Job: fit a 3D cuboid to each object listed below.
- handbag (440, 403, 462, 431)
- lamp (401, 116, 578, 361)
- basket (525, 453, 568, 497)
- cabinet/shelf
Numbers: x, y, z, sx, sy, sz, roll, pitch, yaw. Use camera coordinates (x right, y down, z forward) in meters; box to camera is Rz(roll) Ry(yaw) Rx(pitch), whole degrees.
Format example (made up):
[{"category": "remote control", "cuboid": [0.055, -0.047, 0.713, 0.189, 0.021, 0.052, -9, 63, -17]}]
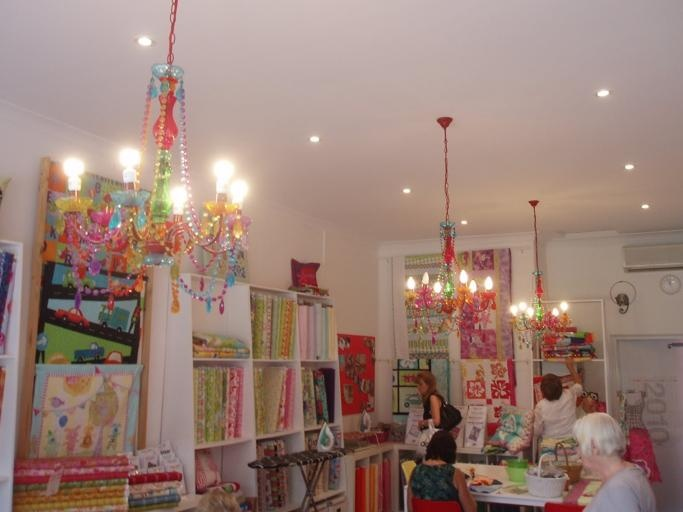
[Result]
[{"category": "handbag", "cuboid": [1.375, 2.054, 6.936, 0.316, 0.314, 0.161, 7, -13, -30]}, {"category": "lamp", "cuboid": [1.837, -0.135, 6.560, 2.124, 2.536, 0.829, 10, -15, -40]}, {"category": "basket", "cuboid": [1.699, 1.821, 4.499, 0.312, 0.330, 0.349, 6, -11, -33]}, {"category": "cabinet/shelf", "cuboid": [-0.908, 1.371, 5.273, 0.557, 2.194, 2.210, -13, -21, 30]}]
